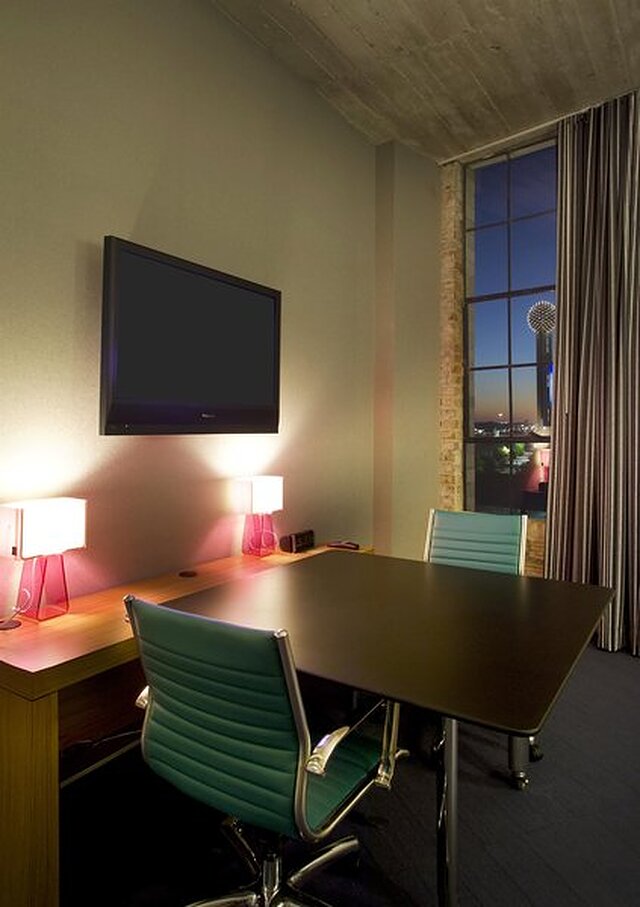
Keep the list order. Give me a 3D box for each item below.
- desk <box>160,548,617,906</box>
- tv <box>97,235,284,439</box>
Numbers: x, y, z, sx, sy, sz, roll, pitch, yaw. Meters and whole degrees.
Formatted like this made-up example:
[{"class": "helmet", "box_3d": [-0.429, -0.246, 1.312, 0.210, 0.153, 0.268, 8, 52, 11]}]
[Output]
[{"class": "desk", "box_3d": [0.339, 0.446, 1.807, 0.944, 0.689, 0.993, 7, 14, 37]}, {"class": "tv", "box_3d": [-0.564, -0.474, 2.876, 0.090, 0.787, 1.036, -1, 4, 32]}]
